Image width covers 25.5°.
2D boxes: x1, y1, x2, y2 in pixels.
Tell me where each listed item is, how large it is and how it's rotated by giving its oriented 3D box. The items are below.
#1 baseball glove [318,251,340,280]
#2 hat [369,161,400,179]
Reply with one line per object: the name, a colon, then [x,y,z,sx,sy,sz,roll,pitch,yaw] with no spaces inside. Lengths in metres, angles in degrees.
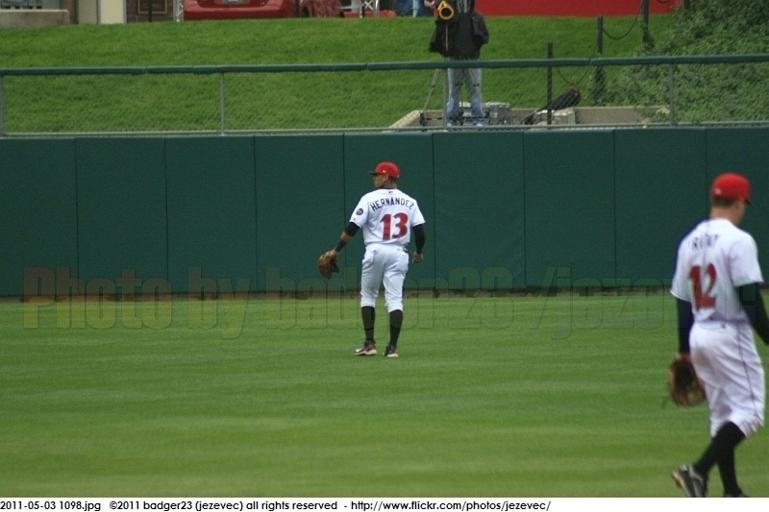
baseball glove: [-1.110,0.123,33.322,0.417,0.486,0.514,0,-7,3]
hat: [-0.023,-1.729,32.765,0.536,0.276,0.383,4,5,13]
